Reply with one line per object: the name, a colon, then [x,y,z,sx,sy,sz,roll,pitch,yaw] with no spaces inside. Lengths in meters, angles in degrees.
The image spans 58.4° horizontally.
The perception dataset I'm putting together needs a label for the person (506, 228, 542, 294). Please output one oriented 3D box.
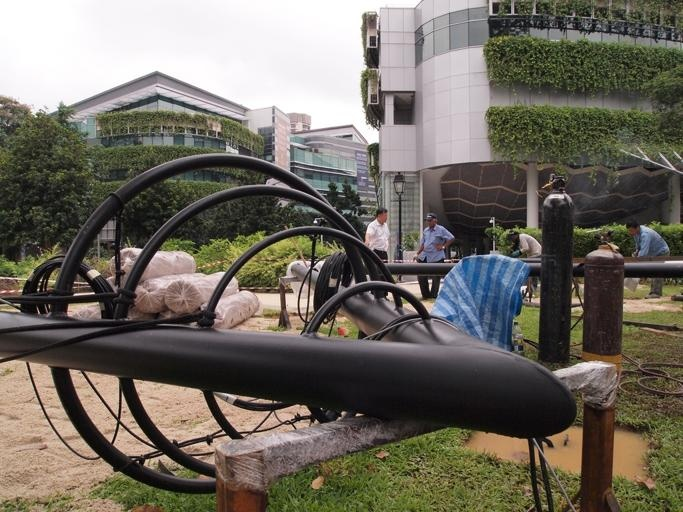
person: [3.644,0.127,12.373,0.842,1.302,0.556,0,-20,-7]
